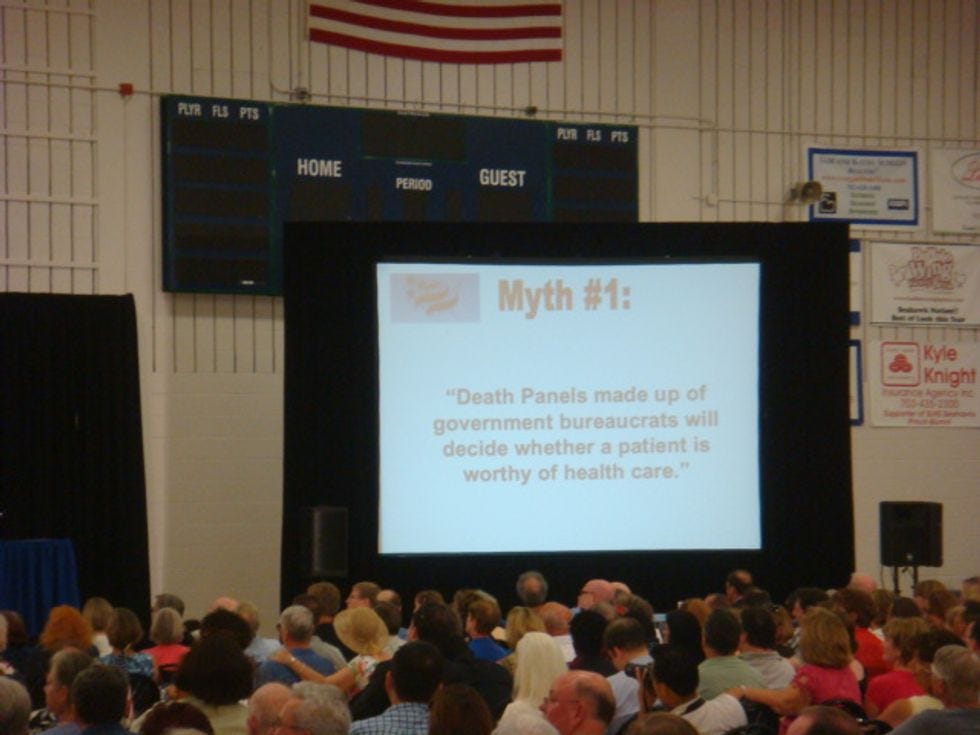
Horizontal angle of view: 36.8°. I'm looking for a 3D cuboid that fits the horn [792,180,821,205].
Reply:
[{"bbox_3d":[3.672,-2.001,16.922,0.242,0.228,0.291,4,-12,-19],"label":"horn"}]
